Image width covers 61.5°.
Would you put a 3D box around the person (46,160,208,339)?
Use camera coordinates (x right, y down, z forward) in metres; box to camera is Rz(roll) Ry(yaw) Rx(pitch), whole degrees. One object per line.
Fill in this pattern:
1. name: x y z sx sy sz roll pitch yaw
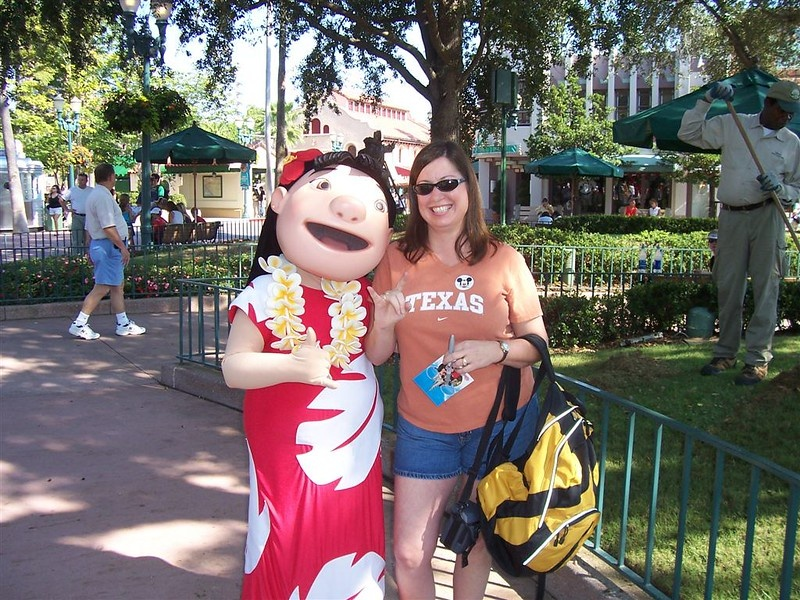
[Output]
1. person: -3.997 -0.628 9.051 0.860 2.333 1.112 -6 13 -23

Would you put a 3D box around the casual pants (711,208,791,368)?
1. casual pants: 3.211 -0.207 6.184 0.541 1.654 0.387 -3 -32 32

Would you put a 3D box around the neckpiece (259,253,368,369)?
1. neckpiece: -0.388 0.100 3.245 0.583 0.207 0.636 -5 11 21

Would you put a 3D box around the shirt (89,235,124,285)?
1. shirt: -3.836 -0.536 8.781 0.457 0.651 0.362 15 22 42

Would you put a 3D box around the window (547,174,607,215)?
1. window: 9.554 -5.524 35.572 3.372 2.708 0.158 0 4 1

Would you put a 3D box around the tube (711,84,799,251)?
1. tube: 3.182 -1.206 5.994 0.253 1.622 0.296 -23 -2 39

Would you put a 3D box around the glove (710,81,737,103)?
1. glove: 2.817 -1.817 5.895 0.184 0.104 0.265 8 42 10

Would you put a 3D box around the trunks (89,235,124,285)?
1. trunks: -3.922 -0.530 8.932 0.351 0.624 0.431 -4 16 -24

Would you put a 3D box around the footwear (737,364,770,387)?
1. footwear: 3.272 0.702 6.242 0.131 0.158 0.369 3 0 42

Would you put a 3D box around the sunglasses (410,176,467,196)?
1. sunglasses: 0.182 -0.549 3.262 0.256 0.082 0.091 2 13 8

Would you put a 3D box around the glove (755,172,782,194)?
1. glove: 3.179 -0.998 5.768 0.194 0.178 0.200 7 15 29

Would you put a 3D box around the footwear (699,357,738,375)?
1. footwear: 3.149 0.638 6.657 0.406 0.177 0.140 -6 17 -28

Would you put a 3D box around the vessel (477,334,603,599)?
1. vessel: 0.701 0.736 3.211 0.483 1.033 0.667 6 -2 39

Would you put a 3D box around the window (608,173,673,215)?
1. window: 12.341 -5.440 34.098 3.174 2.514 0.248 6 14 22
